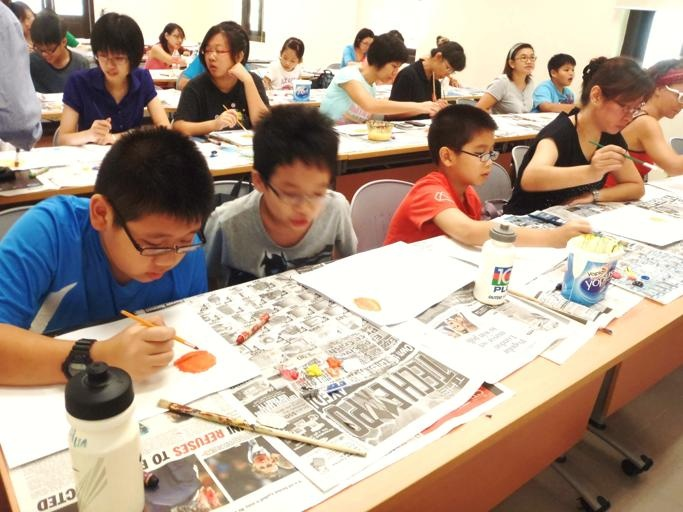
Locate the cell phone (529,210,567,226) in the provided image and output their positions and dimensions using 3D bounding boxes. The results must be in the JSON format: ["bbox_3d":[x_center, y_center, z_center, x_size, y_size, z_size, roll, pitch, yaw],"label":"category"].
[{"bbox_3d":[0.841,-0.155,2.044,0.080,0.018,0.079,21,28,35],"label":"cell phone"}]

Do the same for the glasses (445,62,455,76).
[{"bbox_3d":[0.888,-1.543,4.138,0.030,0.095,0.101,4,9,42],"label":"glasses"}]

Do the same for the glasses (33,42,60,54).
[{"bbox_3d":[-2.186,-1.549,3.776,0.159,0.045,0.155,7,10,10],"label":"glasses"}]

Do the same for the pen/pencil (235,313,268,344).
[{"bbox_3d":[-0.216,0.179,1.233,0.028,0.026,0.116,-25,10,36],"label":"pen/pencil"}]

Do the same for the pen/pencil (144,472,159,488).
[{"bbox_3d":[-0.334,0.394,0.893,0.016,0.010,0.028,-9,26,-42],"label":"pen/pencil"}]

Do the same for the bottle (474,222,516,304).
[{"bbox_3d":[0.428,0.019,1.395,0.085,0.230,0.082,2,26,-1],"label":"bottle"}]

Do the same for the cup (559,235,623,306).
[{"bbox_3d":[0.722,0.048,1.454,0.146,0.165,0.136,2,33,-2],"label":"cup"}]

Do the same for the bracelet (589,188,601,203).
[{"bbox_3d":[1.144,-0.272,2.270,0.047,0.047,0.051,5,0,15],"label":"bracelet"}]

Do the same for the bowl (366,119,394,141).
[{"bbox_3d":[0.251,-0.820,3.264,0.144,0.082,0.152,0,19,0],"label":"bowl"}]

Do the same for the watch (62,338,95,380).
[{"bbox_3d":[-0.520,0.206,0.998,0.040,0.062,0.061,20,40,8],"label":"watch"}]
